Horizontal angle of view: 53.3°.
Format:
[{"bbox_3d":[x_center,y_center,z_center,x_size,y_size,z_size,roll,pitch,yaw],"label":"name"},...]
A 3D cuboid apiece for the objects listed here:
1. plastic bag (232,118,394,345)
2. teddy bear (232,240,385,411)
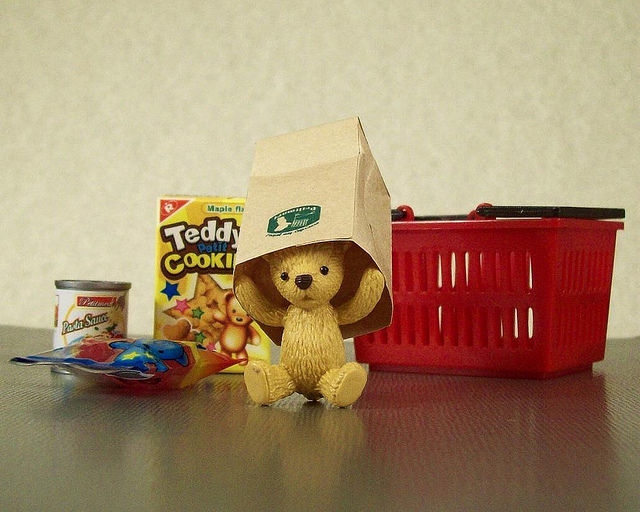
[{"bbox_3d":[-0.003,-0.044,1.013,0.221,0.343,0.274,1,-2,2],"label":"plastic bag"},{"bbox_3d":[-0.020,0.102,0.975,0.245,0.277,0.128,-2,-3,15],"label":"teddy bear"}]
